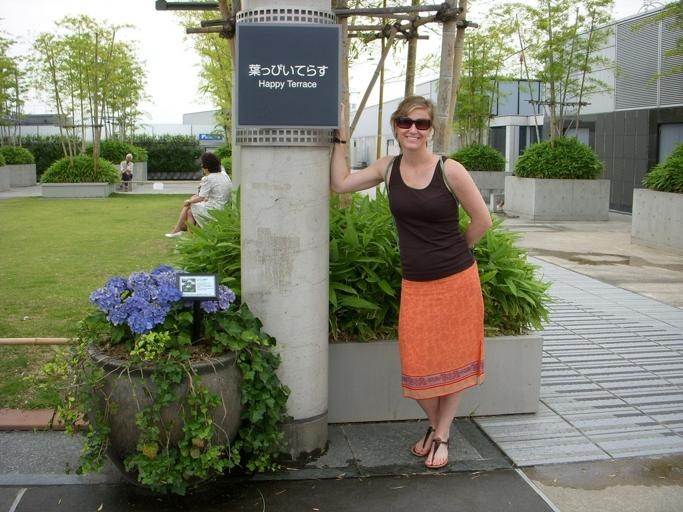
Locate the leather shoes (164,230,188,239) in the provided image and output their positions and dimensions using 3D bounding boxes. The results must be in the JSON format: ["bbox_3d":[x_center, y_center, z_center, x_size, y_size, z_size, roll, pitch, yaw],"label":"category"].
[{"bbox_3d":[-3.411,-0.451,11.609,0.601,0.265,0.208,8,13,41],"label":"leather shoes"}]

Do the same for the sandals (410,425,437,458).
[{"bbox_3d":[0.544,1.230,3.700,0.087,0.115,0.268,-1,-8,29],"label":"sandals"}]

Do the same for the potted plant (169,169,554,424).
[{"bbox_3d":[0.529,0.318,5.042,2.116,1.295,1.991,-2,8,-9],"label":"potted plant"}]

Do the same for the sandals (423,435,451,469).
[{"bbox_3d":[0.606,1.248,3.564,0.090,0.091,0.249,-1,-1,16],"label":"sandals"}]

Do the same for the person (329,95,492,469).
[{"bbox_3d":[0.465,-0.046,3.574,0.906,1.879,0.379,6,11,23],"label":"person"}]

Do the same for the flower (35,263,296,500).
[{"bbox_3d":[-0.987,0.633,3.189,1.201,0.820,1.374,3,0,-4],"label":"flower"}]

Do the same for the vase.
[{"bbox_3d":[-1.047,0.961,3.410,0.849,0.695,0.963,-9,-11,39],"label":"vase"}]
